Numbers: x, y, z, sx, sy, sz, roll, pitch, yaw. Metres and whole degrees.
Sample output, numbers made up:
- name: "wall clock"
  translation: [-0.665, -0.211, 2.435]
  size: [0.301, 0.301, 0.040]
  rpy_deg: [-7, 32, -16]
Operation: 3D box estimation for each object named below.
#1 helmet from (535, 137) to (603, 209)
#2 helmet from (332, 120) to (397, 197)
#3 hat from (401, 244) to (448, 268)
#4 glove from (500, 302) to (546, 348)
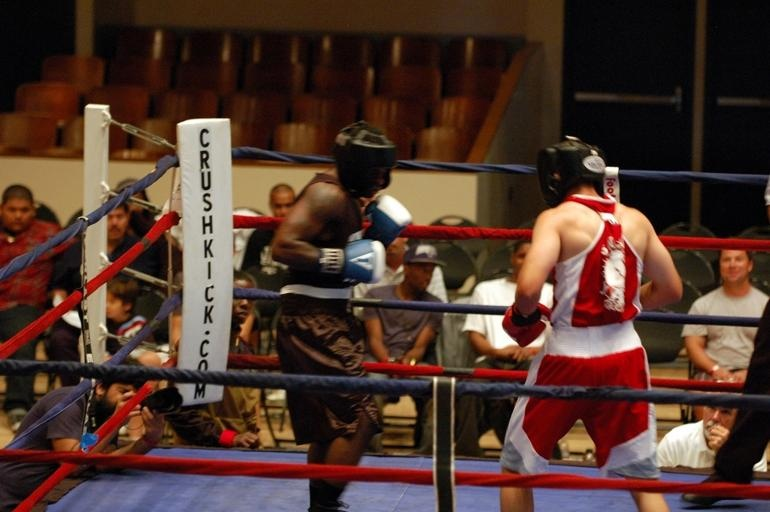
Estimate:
- name: "helmet"
  translation: [0.872, -0.404, 4.642]
  size: [0.305, 0.304, 0.350]
  rpy_deg: [-1, 8, -27]
- name: "helmet"
  translation: [-0.112, -0.483, 4.838]
  size: [0.341, 0.298, 0.256]
  rpy_deg: [13, 15, 23]
- name: "hat"
  translation: [0.229, 0.002, 6.363]
  size: [0.202, 0.089, 0.151]
  rpy_deg: [-7, -9, 39]
- name: "glove"
  translation: [0.644, 0.343, 4.690]
  size: [0.139, 0.106, 0.305]
  rpy_deg: [16, -21, -10]
